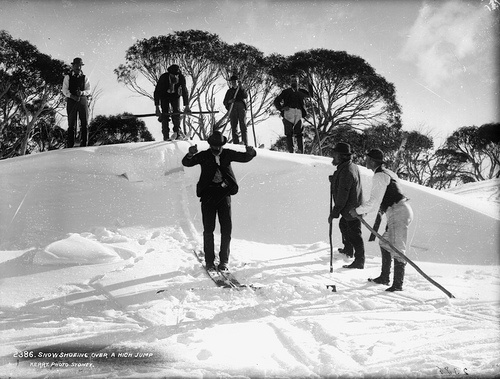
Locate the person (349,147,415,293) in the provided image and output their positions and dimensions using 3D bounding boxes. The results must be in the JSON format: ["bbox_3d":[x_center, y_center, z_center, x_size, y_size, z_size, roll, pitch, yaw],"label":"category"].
[{"bbox_3d":[1.801,0.378,5.463,0.732,1.807,0.707,8,9,23],"label":"person"}]

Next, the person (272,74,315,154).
[{"bbox_3d":[1.047,-1.908,10.198,0.791,1.913,0.838,6,8,11],"label":"person"}]

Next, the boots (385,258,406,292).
[{"bbox_3d":[1.921,1.097,5.289,0.193,0.423,0.362,9,9,26],"label":"boots"}]

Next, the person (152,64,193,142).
[{"bbox_3d":[-1.769,-1.986,9.226,0.803,1.742,0.692,3,8,-14],"label":"person"}]

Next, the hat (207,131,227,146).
[{"bbox_3d":[-0.457,-0.725,5.697,0.223,0.206,0.313,7,8,12],"label":"hat"}]

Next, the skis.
[{"bbox_3d":[-0.423,1.073,5.434,0.256,0.174,1.576,-5,6,-20],"label":"skis"}]

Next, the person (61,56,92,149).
[{"bbox_3d":[-3.573,-1.757,8.347,0.510,1.826,0.643,1,9,-22],"label":"person"}]

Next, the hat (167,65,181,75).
[{"bbox_3d":[-1.703,-2.720,9.135,0.294,0.256,0.279,2,9,-18],"label":"hat"}]
